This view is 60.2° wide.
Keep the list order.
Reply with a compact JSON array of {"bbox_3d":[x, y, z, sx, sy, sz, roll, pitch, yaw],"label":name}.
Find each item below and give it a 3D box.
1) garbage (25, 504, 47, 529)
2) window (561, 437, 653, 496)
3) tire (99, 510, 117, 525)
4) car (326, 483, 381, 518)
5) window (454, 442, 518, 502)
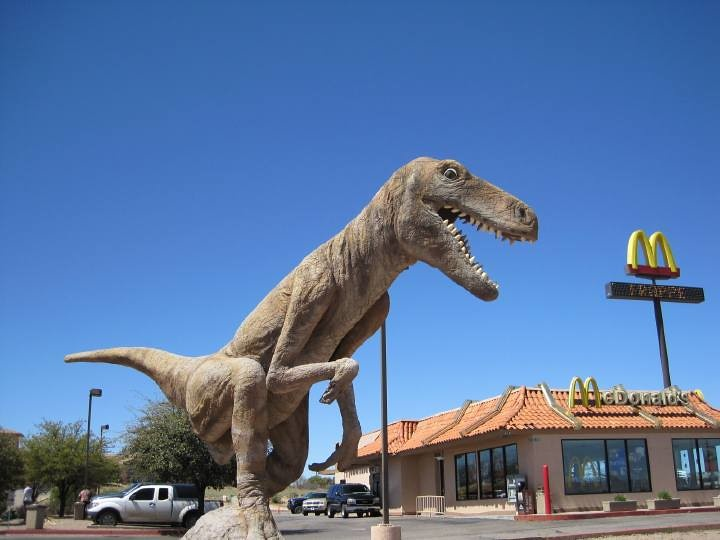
[{"bbox_3d":[-12.056,9.119,22.874,0.633,0.840,1.086,5,-21,-16],"label":"garbage"},{"bbox_3d":[10.418,8.305,26.172,4.883,2.915,0.109,4,-14,-18],"label":"window"},{"bbox_3d":[-9.823,9.575,23.977,0.538,0.567,0.197,1,-6,-6],"label":"tire"},{"bbox_3d":[-0.477,11.873,32.143,1.644,1.306,2.872,9,-31,-18],"label":"car"},{"bbox_3d":[5.643,9.252,28.113,4.064,2.296,0.139,6,-15,-33],"label":"window"}]
